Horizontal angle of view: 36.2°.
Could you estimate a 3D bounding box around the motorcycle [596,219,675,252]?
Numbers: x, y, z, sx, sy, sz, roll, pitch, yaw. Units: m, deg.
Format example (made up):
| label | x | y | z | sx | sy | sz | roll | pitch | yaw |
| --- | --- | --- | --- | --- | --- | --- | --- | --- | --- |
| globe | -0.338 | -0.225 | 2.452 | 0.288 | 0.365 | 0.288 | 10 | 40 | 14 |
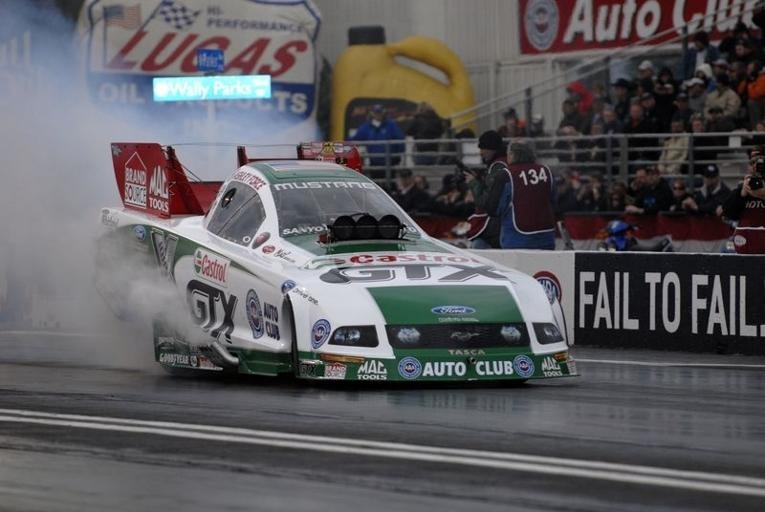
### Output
| label | x | y | z | sx | sy | sz | roll | pitch | yaw |
| --- | --- | --- | --- | --- | --- | --- | --- | --- | --- |
| motorcycle | 4.522 | -0.358 | 20.512 | 0.509 | 0.518 | 1.523 | -3 | -1 | 27 |
